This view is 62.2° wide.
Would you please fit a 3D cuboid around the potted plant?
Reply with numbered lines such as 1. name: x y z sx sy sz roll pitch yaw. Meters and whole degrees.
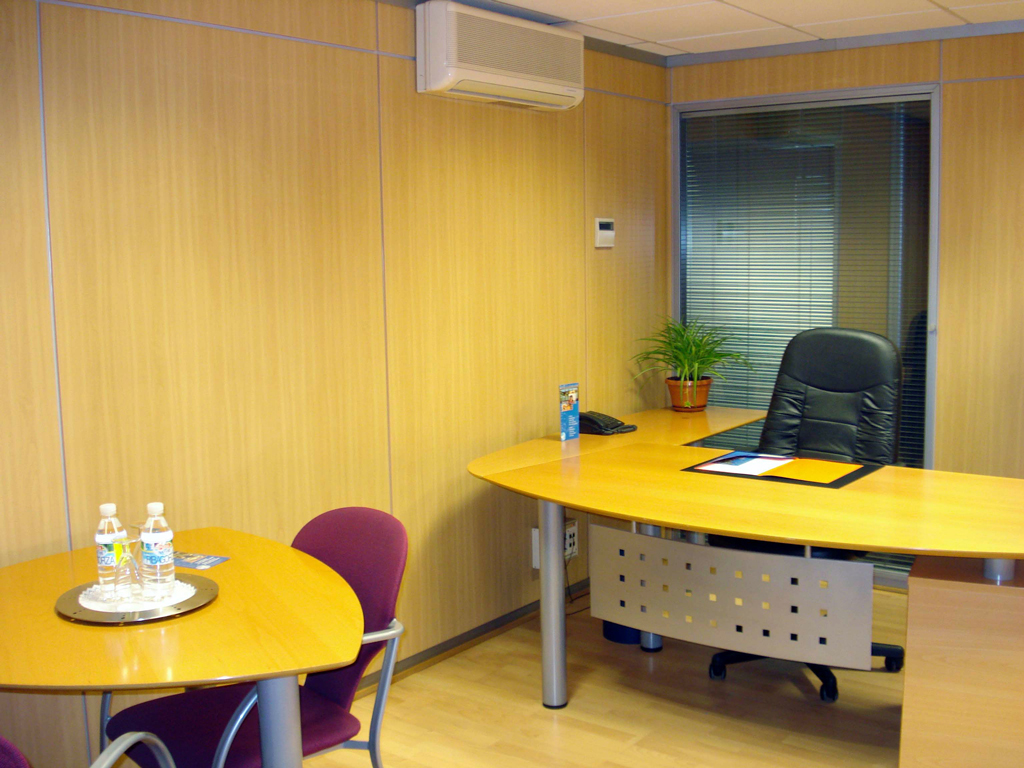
1. potted plant: 1.166 -0.124 5.482 0.729 0.447 0.651 1 4 6
